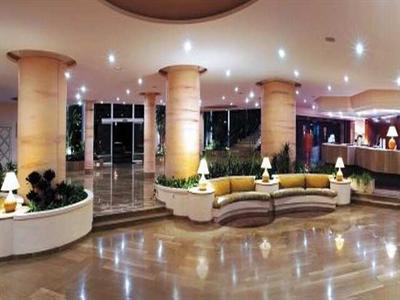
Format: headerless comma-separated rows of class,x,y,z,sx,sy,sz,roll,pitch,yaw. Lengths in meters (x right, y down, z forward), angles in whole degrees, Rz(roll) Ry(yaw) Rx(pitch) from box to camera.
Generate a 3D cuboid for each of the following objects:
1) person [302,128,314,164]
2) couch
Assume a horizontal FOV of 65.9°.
person,6.396,-0.295,18.370,0.565,1.918,1.273,4,12,20
couch,2.080,1.321,8.873,3.839,1.048,0.997,-4,12,-16
